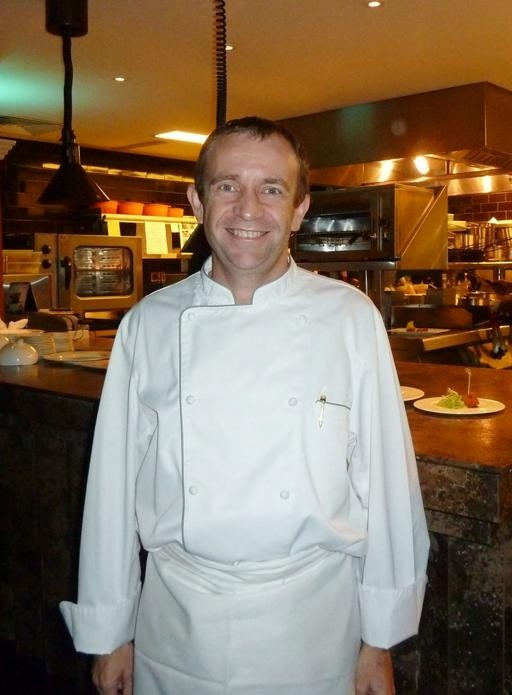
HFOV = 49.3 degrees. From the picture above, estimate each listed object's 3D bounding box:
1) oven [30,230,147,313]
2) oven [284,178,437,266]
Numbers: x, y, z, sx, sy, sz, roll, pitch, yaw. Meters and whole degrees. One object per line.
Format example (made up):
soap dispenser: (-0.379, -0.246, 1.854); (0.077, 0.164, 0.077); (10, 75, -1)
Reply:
oven: (-1.708, -0.728, 5.781); (0.532, 0.846, 1.008); (10, 14, 40)
oven: (0.696, -0.883, 4.059); (0.850, 0.568, 0.641); (5, 13, 37)
